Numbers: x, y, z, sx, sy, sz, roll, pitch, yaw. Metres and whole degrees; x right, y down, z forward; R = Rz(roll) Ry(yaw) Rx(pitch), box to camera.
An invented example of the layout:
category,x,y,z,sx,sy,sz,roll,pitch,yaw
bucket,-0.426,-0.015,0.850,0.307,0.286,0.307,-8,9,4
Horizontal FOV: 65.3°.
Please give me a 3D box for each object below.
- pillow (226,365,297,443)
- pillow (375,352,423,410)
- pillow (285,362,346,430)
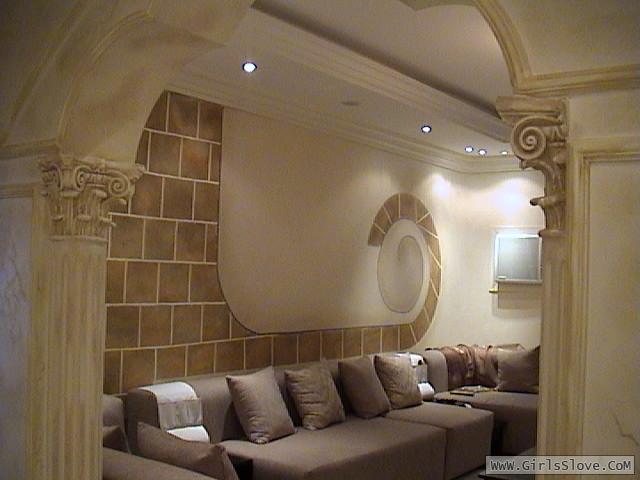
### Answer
category,x,y,z,sx,sy,sz,roll,pitch,yaw
pillow,-0.449,1.244,3.768,0.302,0.487,0.495,-6,-10,43
pillow,0.801,1.424,5.017,0.523,0.516,0.267,5,-6,-40
pillow,-0.052,1.321,4.249,0.310,0.540,0.580,-19,-16,26
